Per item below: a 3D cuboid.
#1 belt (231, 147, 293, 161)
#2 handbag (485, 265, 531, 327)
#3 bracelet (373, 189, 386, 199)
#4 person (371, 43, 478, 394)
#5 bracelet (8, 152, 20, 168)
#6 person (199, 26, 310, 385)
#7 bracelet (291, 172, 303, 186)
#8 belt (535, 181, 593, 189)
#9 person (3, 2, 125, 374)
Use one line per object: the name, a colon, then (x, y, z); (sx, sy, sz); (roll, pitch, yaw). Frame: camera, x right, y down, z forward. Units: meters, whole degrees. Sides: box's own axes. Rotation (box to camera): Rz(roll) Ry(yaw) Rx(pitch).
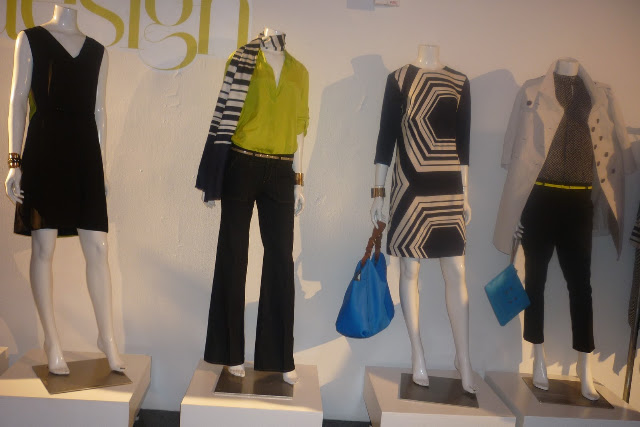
belt: (-0.380, -0.379, 3.780); (0.398, 0.066, 0.056); (4, 5, -9)
handbag: (1.296, 0.563, 4.026); (0.356, 0.366, 0.085); (-38, -21, 30)
bracelet: (0.390, -0.120, 3.883); (0.060, 0.046, 0.063); (2, -5, -10)
person: (0.732, 0.017, 3.932); (0.775, 2.258, 0.206); (4, 4, 7)
bracelet: (-1.869, -0.317, 3.544); (0.070, 0.083, 0.082); (1, -3, -7)
person: (-0.455, -0.090, 3.821); (0.693, 2.194, 0.226); (4, 4, -4)
bracelet: (-0.151, -0.225, 3.848); (0.065, 0.085, 0.073); (0, -6, -3)
belt: (1.679, -0.182, 4.008); (0.370, 0.032, 0.047); (5, 5, 4)
person: (-1.633, -0.142, 3.717); (0.718, 2.304, 0.341); (2, 4, -22)
